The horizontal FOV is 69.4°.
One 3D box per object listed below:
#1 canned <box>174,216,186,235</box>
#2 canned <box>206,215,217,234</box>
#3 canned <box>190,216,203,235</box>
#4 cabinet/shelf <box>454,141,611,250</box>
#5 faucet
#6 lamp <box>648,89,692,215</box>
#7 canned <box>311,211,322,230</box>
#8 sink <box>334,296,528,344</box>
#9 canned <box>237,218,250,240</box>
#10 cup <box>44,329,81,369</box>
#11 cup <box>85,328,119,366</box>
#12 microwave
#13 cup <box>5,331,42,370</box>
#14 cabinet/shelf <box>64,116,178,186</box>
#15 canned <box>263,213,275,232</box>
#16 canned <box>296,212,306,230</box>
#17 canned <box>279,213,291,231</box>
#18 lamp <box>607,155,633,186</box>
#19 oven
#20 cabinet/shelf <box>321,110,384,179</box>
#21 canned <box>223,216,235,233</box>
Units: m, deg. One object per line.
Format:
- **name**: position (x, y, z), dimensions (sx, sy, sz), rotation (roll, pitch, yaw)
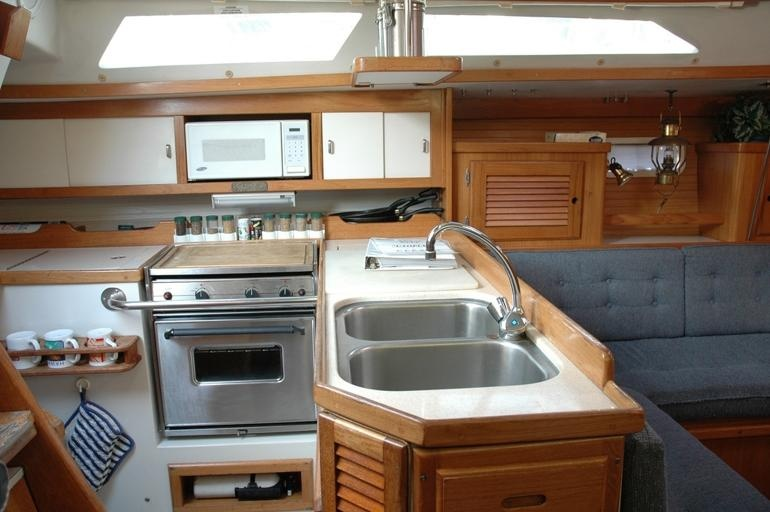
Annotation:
- **canned**: position (-1.251, -0.186, 3.429), dimensions (0.064, 0.113, 0.087), rotation (-2, 8, 9)
- **canned**: position (-1.082, -0.199, 3.470), dimensions (0.069, 0.112, 0.109), rotation (-6, 8, -19)
- **canned**: position (-1.161, -0.188, 3.431), dimensions (0.071, 0.112, 0.056), rotation (-6, 9, -24)
- **cabinet/shelf**: position (0.903, -0.384, 3.690), dimensions (1.303, 0.676, 0.658), rotation (-1, 9, -2)
- **faucet**: position (0.350, 0.078, 2.122), dimensions (0.374, 0.416, 0.286), rotation (-2, 8, 3)
- **lamp**: position (1.929, -0.697, 3.775), dimensions (0.214, 0.793, 0.461), rotation (1, 9, 27)
- **canned**: position (-0.427, -0.218, 3.466), dimensions (0.075, 0.110, 0.064), rotation (-3, 8, -2)
- **sink**: position (0.054, 0.330, 2.651), dimensions (0.655, 0.235, 0.747), rotation (-1, -15, -8)
- **canned**: position (-0.884, -0.166, 3.429), dimensions (0.082, 0.136, 0.095), rotation (-2, 8, 4)
- **cup**: position (-1.617, 0.482, 2.852), dimensions (0.227, 0.162, 0.135), rotation (0, 3, 28)
- **cup**: position (-1.419, 0.477, 2.848), dimensions (0.215, 0.160, 0.133), rotation (4, 6, 41)
- **microwave**: position (-0.815, -0.622, 3.498), dimensions (0.812, 0.312, 0.388), rotation (0, 8, -2)
- **cup**: position (-1.838, 0.474, 2.834), dimensions (0.144, 0.173, 0.185), rotation (-8, 9, -33)
- **cabinet/shelf**: position (-1.595, -0.625, 3.438), dimensions (0.846, 0.408, 0.405), rotation (0, 8, -5)
- **canned**: position (-0.718, -0.208, 3.455), dimensions (0.063, 0.112, 0.035), rotation (-5, 8, -12)
- **canned**: position (-0.523, -0.215, 3.464), dimensions (0.071, 0.106, 0.053), rotation (-4, 8, -7)
- **canned**: position (-0.631, -0.210, 3.461), dimensions (0.090, 0.117, 0.079), rotation (-2, 8, 4)
- **lamp**: position (1.585, -0.573, 3.747), dimensions (0.151, 0.199, 0.338), rotation (0, 7, 22)
- **oven**: position (-0.613, 0.413, 3.376), dimensions (1.290, 1.029, 0.848), rotation (-1, 11, -5)
- **cabinet/shelf**: position (-0.209, -0.693, 3.382), dimensions (0.488, 0.373, 0.233), rotation (0, 6, -2)
- **canned**: position (-0.967, -0.198, 3.447), dimensions (0.074, 0.112, 0.057), rotation (-5, 8, -17)
